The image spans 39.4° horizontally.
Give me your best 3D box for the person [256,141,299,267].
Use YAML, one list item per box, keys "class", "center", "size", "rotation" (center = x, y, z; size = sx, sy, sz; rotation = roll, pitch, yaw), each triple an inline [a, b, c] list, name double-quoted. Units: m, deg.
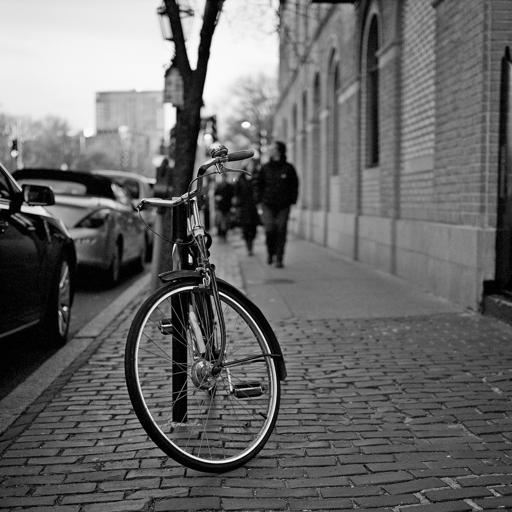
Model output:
- class: "person"
  center: [0.375, -0.993, 12.545]
  size: [0.672, 2.250, 0.734]
  rotation: [3, 23, 6]
